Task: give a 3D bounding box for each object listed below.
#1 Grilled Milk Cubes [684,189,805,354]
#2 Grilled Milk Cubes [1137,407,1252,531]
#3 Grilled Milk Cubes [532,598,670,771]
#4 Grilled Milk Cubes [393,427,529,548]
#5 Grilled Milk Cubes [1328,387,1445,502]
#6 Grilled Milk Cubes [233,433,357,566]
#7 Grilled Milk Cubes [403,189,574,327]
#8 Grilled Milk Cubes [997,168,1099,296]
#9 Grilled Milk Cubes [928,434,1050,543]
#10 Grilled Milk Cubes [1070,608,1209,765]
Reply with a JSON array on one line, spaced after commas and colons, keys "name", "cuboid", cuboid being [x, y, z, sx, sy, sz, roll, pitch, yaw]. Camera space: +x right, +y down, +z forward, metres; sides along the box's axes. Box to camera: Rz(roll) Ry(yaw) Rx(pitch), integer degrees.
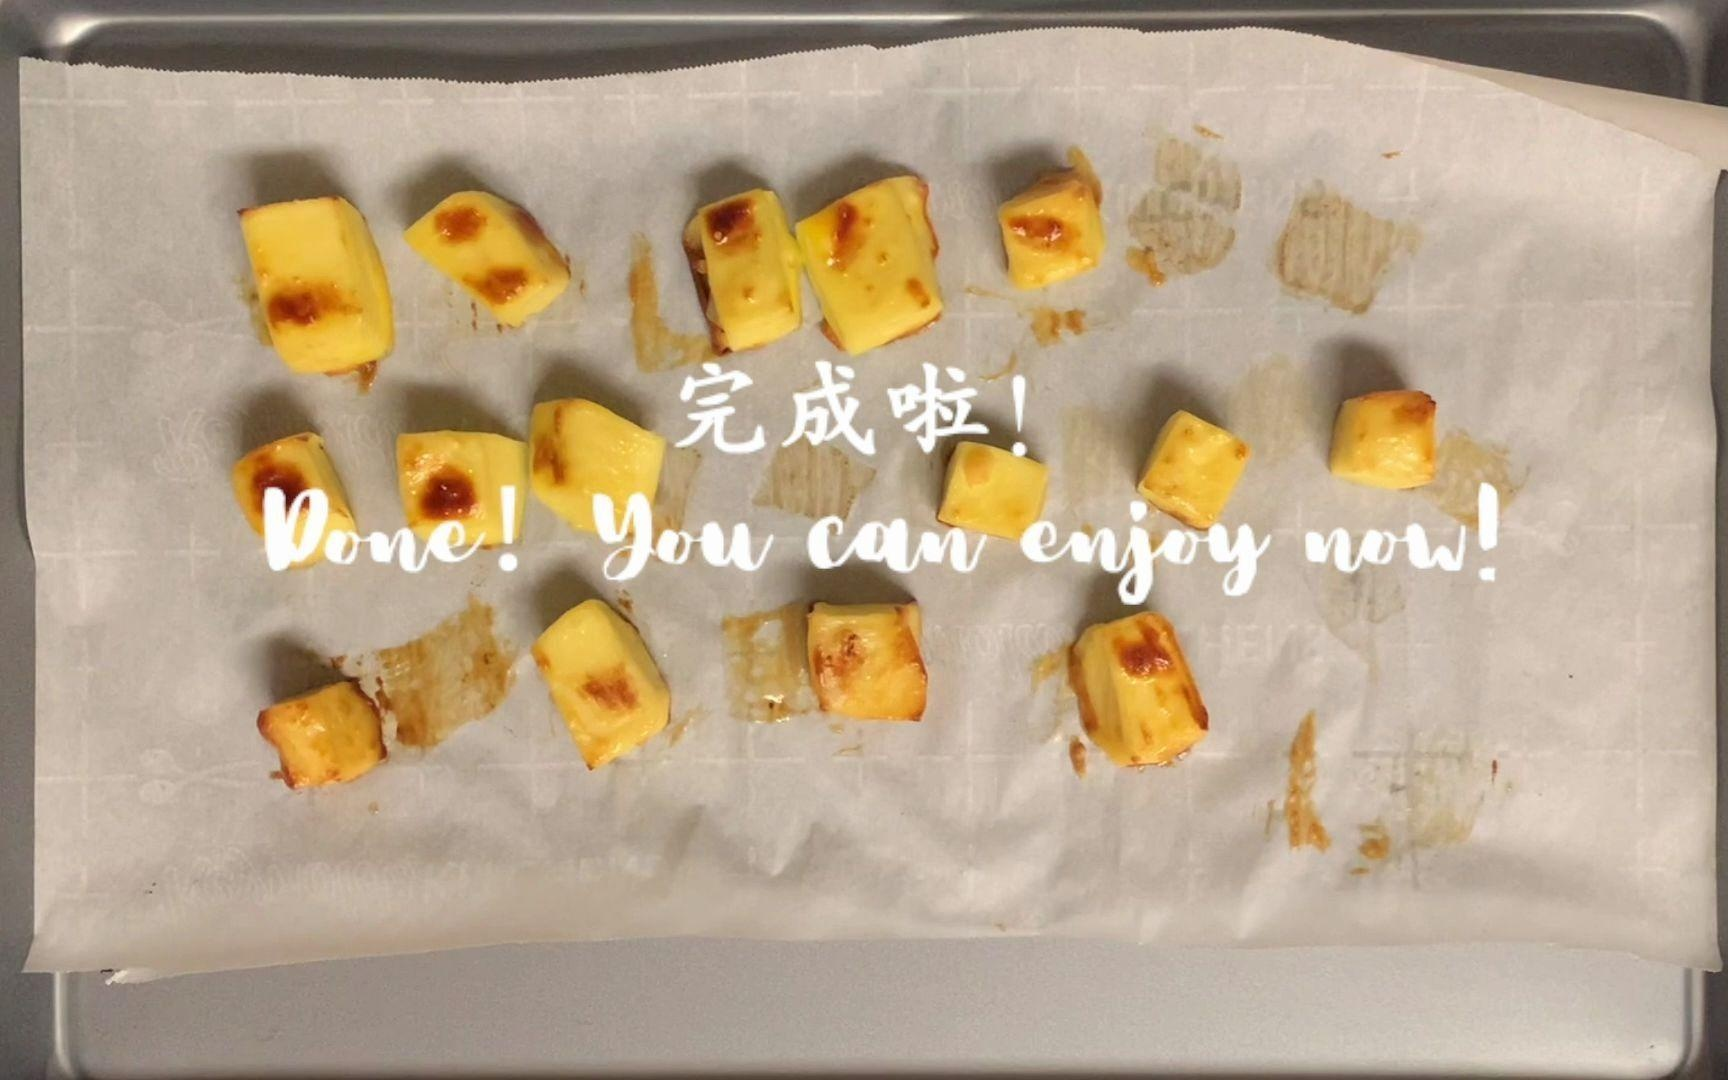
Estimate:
[{"name": "Grilled Milk Cubes", "cuboid": [-0.179, -0.416, 3.639, 0.151, 0.246, 0.048, -3, 6, 0]}, {"name": "Grilled Milk Cubes", "cuboid": [0.520, -0.123, 3.633, 0.167, 0.174, 0.067, 32, 9, -5]}, {"name": "Grilled Milk Cubes", "cuboid": [-0.412, 0.220, 3.640, 0.193, 0.266, 0.086, -24, 5, 5]}, {"name": "Grilled Milk Cubes", "cuboid": [-0.666, -0.106, 3.654, 0.255, 0.063, 0.295, -3, -35, -9]}, {"name": "Grilled Milk Cubes", "cuboid": [0.812, -0.151, 3.632, 0.135, 0.162, 0.054, 5, 6, 10]}, {"name": "Grilled Milk Cubes", "cuboid": [-0.895, -0.066, 3.634, 0.180, 0.198, 0.066, -19, 9, -5]}, {"name": "Grilled Milk Cubes", "cuboid": [-0.588, -0.449, 3.667, 0.174, 0.233, 0.062, -44, 4, -3]}, {"name": "Grilled Milk Cubes", "cuboid": [0.291, -0.486, 3.648, 0.159, 0.183, 0.070, -2, 6, 5]}, {"name": "Grilled Milk Cubes", "cuboid": [0.199, -0.078, 3.659, 0.175, 0.153, 0.059, -3, 6, 1]}, {"name": "Grilled Milk Cubes", "cuboid": [0.431, 0.236, 3.683, 0.181, 0.247, 0.071, -12, 2, 4]}]
